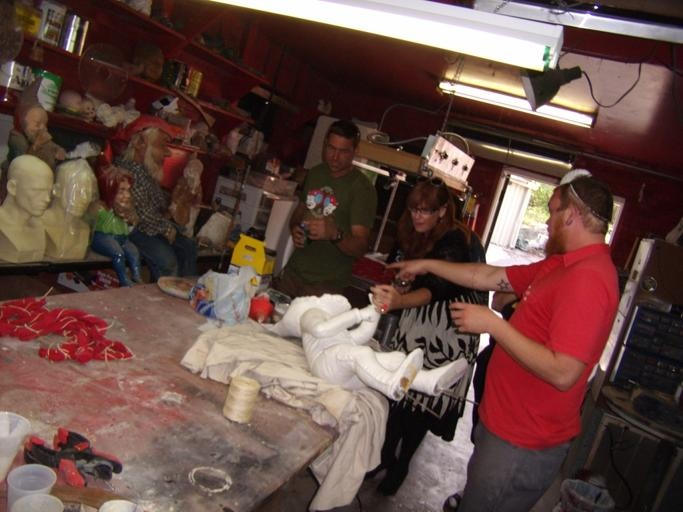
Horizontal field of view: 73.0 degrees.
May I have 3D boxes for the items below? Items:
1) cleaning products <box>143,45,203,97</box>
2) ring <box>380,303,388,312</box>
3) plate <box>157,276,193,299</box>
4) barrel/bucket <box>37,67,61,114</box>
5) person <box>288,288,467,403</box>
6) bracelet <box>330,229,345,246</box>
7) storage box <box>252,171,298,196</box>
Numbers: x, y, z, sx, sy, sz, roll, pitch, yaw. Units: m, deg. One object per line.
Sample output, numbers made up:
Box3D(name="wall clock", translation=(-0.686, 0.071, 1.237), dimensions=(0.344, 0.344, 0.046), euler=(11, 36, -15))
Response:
Box3D(name="cleaning products", translation=(-1.581, -1.711, 4.242), dimensions=(0.402, 0.188, 0.278), euler=(25, 5, 36))
Box3D(name="ring", translation=(0.202, 0.241, 2.185), dimensions=(0.034, 0.036, 0.014), euler=(11, 1, -31))
Box3D(name="plate", translation=(-0.899, 0.163, 2.523), dimensions=(0.144, 0.045, 0.151), euler=(24, 9, 25))
Box3D(name="barrel/bucket", translation=(-2.076, -1.169, 3.300), dimensions=(0.098, 0.260, 0.239), euler=(14, 6, -2))
Box3D(name="person", translation=(0.120, 0.419, 2.063), dimensions=(0.801, 0.365, 0.401), euler=(22, 2, 37))
Box3D(name="bracelet", translation=(-0.014, -0.113, 2.963), dimensions=(0.086, 0.100, 0.064), euler=(-17, -36, 37))
Box3D(name="storage box", translation=(-0.777, -0.845, 5.374), dimensions=(0.257, 0.124, 0.360), euler=(13, -4, 9))
